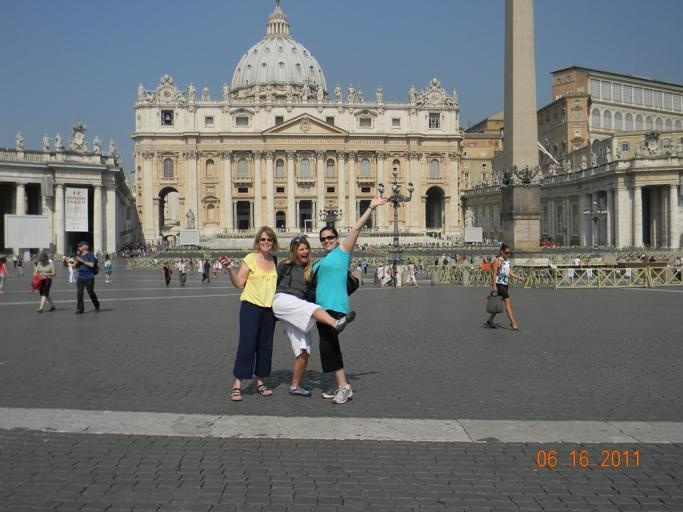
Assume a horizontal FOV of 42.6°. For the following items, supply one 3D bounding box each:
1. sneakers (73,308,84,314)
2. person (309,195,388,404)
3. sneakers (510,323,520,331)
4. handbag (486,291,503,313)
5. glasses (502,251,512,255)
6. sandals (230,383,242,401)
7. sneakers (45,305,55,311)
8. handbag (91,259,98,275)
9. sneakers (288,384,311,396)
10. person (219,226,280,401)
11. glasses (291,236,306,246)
[{"bbox_3d":[-6.160,1.320,20.587,0.210,0.147,0.123,4,-3,-4],"label":"sneakers"},{"bbox_3d":[0.024,0.607,12.123,0.819,2.632,1.569,-1,3,1],"label":"person"},{"bbox_3d":[3.452,1.397,17.350,0.174,0.141,0.473,-1,3,9],"label":"sneakers"},{"bbox_3d":[3.071,0.989,17.490,0.277,0.424,0.732,-1,3,9],"label":"handbag"},{"bbox_3d":[3.645,-0.054,19.235,0.144,0.049,0.150,-1,-3,-38],"label":"glasses"},{"bbox_3d":[-1.402,1.841,11.716,0.181,0.142,0.530,0,4,-8],"label":"sandals"},{"bbox_3d":[-7.187,1.315,21.723,0.118,0.130,0.327,-10,10,-17],"label":"sneakers"},{"bbox_3d":[-5.791,0.265,20.684,0.222,0.313,0.290,-1,-14,-13],"label":"handbag"},{"bbox_3d":[-0.561,1.830,11.898,0.288,0.127,0.137,2,5,1],"label":"sneakers"},{"bbox_3d":[-1.201,0.768,11.961,0.703,2.294,0.998,-1,3,-4],"label":"person"},{"bbox_3d":[-0.576,-0.187,11.780,0.124,0.096,0.164,-4,-1,0],"label":"glasses"}]
